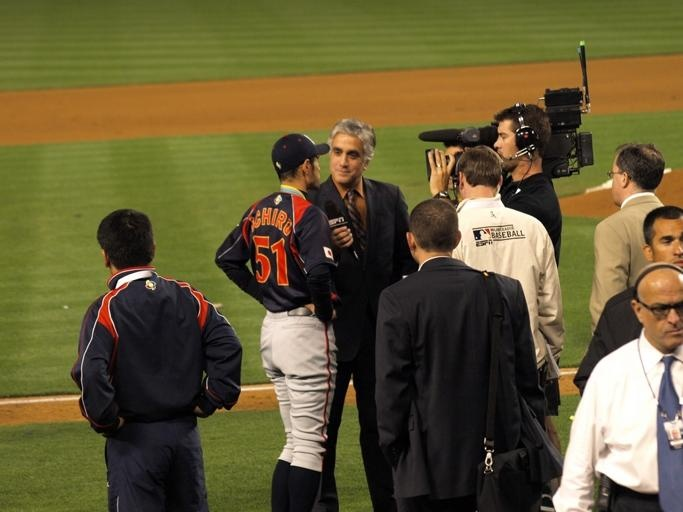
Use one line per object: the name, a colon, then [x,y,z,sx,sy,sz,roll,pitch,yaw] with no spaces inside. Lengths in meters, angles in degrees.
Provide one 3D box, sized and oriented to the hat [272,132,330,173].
hat: [-0.679,-1.557,22.982,0.756,0.407,0.508,-29,15,-9]
